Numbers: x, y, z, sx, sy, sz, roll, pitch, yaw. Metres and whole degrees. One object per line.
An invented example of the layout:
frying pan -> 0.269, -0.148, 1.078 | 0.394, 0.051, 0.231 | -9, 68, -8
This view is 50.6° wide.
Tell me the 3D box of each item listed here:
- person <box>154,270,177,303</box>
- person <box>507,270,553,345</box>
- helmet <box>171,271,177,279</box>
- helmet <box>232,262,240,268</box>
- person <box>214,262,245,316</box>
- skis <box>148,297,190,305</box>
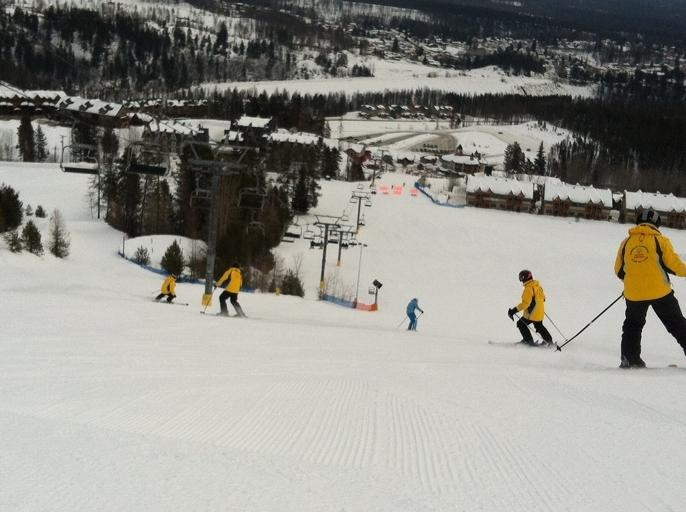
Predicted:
person -> -4.914, 0.899, 20.098 | 0.484, 1.004, 2.564 | 0, 5, -14
person -> 3.950, 1.083, 15.235 | 0.851, 1.663, 1.870 | 2, 4, 15
helmet -> -5.951, 0.632, 25.465 | 0.201, 0.113, 0.279 | 22, -13, -34
helmet -> -2.525, 0.205, 17.025 | 0.113, 0.133, 0.118 | -4, -2, -12
person -> -3.358, 0.981, 21.393 | 0.747, 2.094, 0.839 | 2, 30, -12
skis -> -4.854, 1.228, 20.015 | 0.127, 0.153, 0.908 | 3, -5, 40
